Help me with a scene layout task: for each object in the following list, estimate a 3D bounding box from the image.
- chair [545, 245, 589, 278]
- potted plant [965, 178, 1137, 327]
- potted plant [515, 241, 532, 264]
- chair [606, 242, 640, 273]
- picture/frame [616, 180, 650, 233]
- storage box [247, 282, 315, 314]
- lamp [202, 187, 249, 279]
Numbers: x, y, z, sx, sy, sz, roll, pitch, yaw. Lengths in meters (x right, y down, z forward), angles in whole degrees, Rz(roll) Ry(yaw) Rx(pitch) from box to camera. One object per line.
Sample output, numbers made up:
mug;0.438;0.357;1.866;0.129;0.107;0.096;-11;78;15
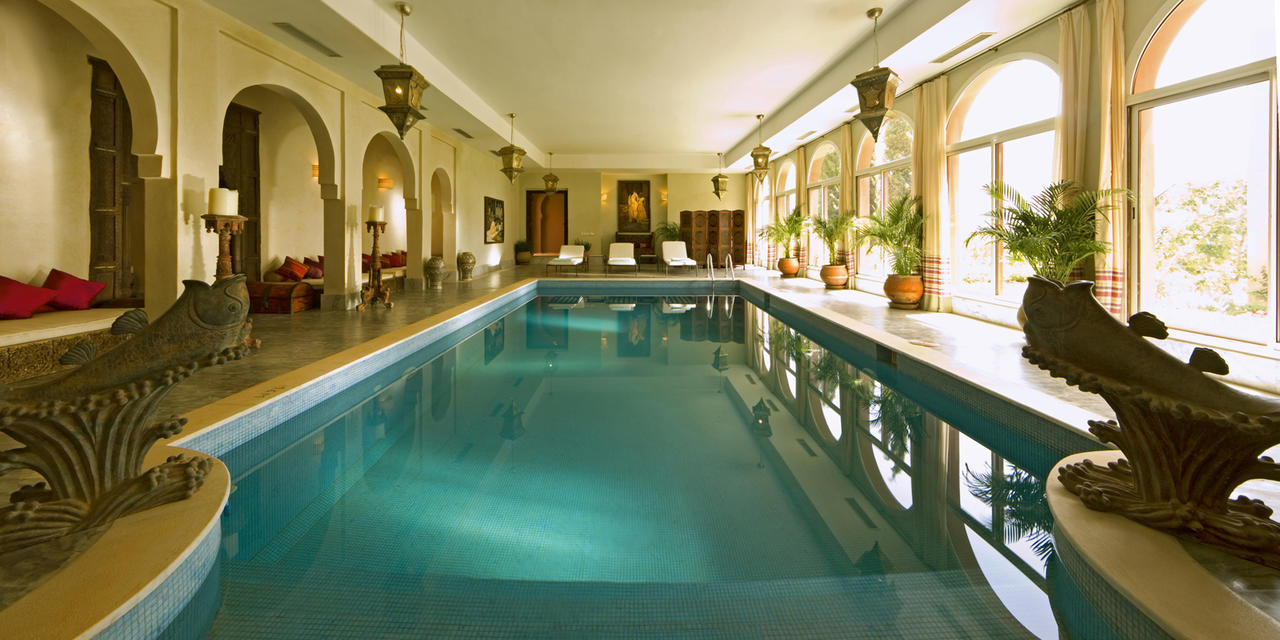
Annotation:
chair;-2.130;-1.720;19.990;0.801;0.740;1.404;0;4;3
potted plant;5.958;-0.994;9.770;2.232;1.647;1.952;1;2;-4
potted plant;-4.007;-2.213;22.979;0.692;0.849;0.711;-1;5;-5
chair;-0.503;-1.828;20.244;0.820;0.853;1.028;0;3;1
picture/frame;-0.183;-3.831;23.808;1.382;1.858;0.064;6;9;32
storage box;-6.163;-0.361;11.673;0.816;0.520;0.757;-1;14;-5
lamp;-5.744;-1.149;9.429;0.481;1.246;0.834;-8;16;-31
